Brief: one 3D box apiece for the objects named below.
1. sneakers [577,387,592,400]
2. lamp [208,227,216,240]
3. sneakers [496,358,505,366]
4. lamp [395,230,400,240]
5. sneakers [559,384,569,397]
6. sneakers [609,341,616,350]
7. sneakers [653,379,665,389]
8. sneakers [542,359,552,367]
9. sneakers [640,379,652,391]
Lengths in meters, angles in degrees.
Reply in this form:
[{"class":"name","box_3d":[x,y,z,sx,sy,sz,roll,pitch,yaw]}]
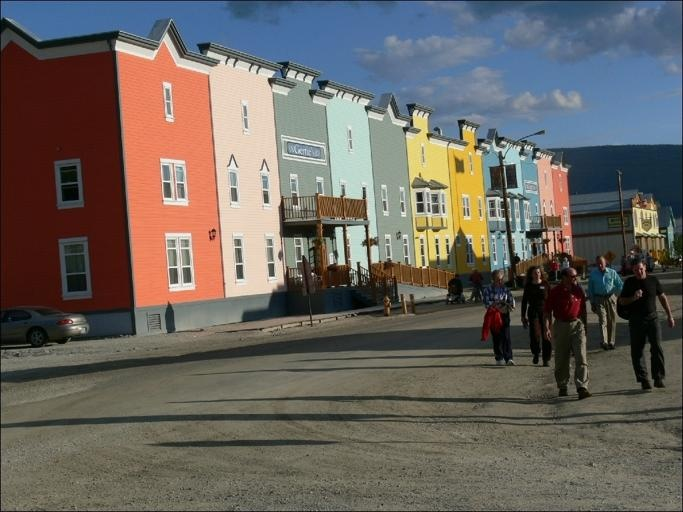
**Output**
[{"class":"sneakers","box_3d":[4.332,2.441,11.317,0.266,0.261,0.162,-3,4,-38]},{"class":"lamp","box_3d":[-6.762,-1.108,33.245,0.503,0.708,0.498,3,-4,-33]},{"class":"sneakers","box_3d":[3.803,2.562,15.305,0.229,0.158,0.125,-3,-2,38]},{"class":"lamp","box_3d":[4.356,-1.627,49.794,0.478,0.929,0.640,0,0,16]},{"class":"sneakers","box_3d":[4.082,2.486,11.786,0.187,0.221,0.206,0,0,14]},{"class":"sneakers","box_3d":[7.035,2.349,16.658,0.104,0.228,0.315,2,3,25]},{"class":"sneakers","box_3d":[5.727,2.319,11.511,0.175,0.159,0.239,-3,-1,25]},{"class":"sneakers","box_3d":[4.910,2.573,15.232,0.165,0.205,0.195,0,-1,9]},{"class":"sneakers","box_3d":[5.505,2.334,11.509,0.227,0.178,0.170,-3,-1,-1]}]
